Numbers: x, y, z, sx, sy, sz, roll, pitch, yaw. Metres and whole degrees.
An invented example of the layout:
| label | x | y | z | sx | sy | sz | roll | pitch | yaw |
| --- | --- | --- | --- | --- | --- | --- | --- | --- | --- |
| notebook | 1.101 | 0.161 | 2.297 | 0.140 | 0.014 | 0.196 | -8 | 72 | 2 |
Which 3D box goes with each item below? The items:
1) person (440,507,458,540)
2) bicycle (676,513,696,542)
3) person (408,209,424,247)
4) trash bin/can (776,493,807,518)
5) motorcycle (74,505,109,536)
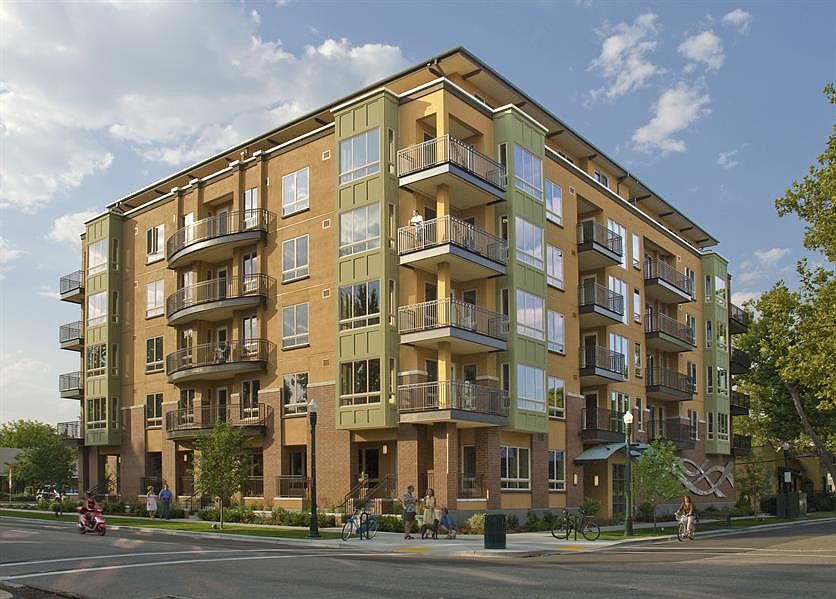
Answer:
| label | x | y | z | sx | sy | sz | roll | pitch | yaw |
| --- | --- | --- | --- | --- | --- | --- | --- | --- | --- |
| person | 1.545 | 11.798 | 61.161 | 0.799 | 1.725 | 1.471 | -2 | -20 | 0 |
| bicycle | 14.650 | 12.495 | 63.323 | 1.075 | 1.510 | 0.816 | 0 | -20 | -5 |
| person | -0.074 | -3.892 | 65.238 | 0.781 | 1.861 | 1.209 | -2 | -20 | -1 |
| trash bin/can | 27.553 | 15.226 | 85.198 | 1.950 | 1.799 | 1.029 | 4 | -6 | -24 |
| motorcycle | -17.731 | 12.026 | 62.718 | 2.279 | 1.908 | 0.953 | -17 | -25 | 34 |
